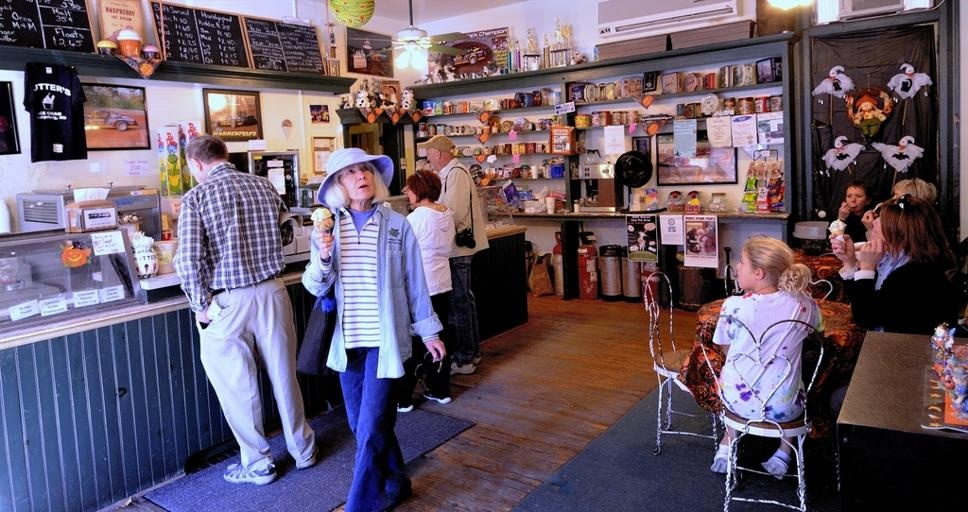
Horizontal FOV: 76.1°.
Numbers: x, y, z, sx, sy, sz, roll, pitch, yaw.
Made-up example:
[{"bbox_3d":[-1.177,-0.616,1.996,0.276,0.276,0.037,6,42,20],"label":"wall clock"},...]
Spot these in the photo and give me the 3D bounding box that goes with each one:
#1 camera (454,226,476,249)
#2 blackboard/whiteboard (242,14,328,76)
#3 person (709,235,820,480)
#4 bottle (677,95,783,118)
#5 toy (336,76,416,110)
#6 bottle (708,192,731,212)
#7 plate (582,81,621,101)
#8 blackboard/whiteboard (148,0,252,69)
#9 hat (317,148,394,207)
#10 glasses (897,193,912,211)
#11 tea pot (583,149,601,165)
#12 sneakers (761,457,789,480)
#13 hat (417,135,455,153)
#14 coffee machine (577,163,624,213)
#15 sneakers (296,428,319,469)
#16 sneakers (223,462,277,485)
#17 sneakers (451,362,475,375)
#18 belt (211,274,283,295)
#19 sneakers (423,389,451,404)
[{"bbox_3d":[-0.212,-0.197,6.558,0.257,0.216,0.131,-3,10,-28],"label":"camera"},{"bbox_3d":[-2.789,-2.885,8.460,1.239,0.782,0.077,-4,-8,-45],"label":"blackboard/whiteboard"},{"bbox_3d":[2.238,0.558,4.811,0.751,1.387,0.433,-8,13,-21],"label":"person"},{"bbox_3d":[3.271,-2.024,8.263,1.305,0.278,0.157,1,13,19],"label":"bottle"},{"bbox_3d":[-1.674,-2.456,9.313,1.294,0.446,1.393,12,15,31],"label":"toy"},{"bbox_3d":[3.234,-0.752,8.467,0.277,0.243,0.300,2,12,23],"label":"bottle"},{"bbox_3d":[1.709,-2.355,8.847,0.395,0.118,0.366,0,5,9],"label":"plate"},{"bbox_3d":[-3.644,-2.780,7.767,0.050,0.865,1.326,-19,-11,42],"label":"blackboard/whiteboard"},{"bbox_3d":[-1.044,-0.663,4.753,0.556,0.269,0.492,-22,-20,-3],"label":"hat"},{"bbox_3d":[3.559,-0.460,5.210,0.121,0.108,0.106,0,-9,40],"label":"glasses"},{"bbox_3d":[1.642,-1.498,9.238,0.282,0.210,0.178,3,7,24],"label":"tea pot"},{"bbox_3d":[2.431,1.763,5.177,0.159,0.101,0.207,41,8,6],"label":"sneakers"},{"bbox_3d":[-0.539,-1.228,6.801,0.401,0.136,0.238,3,8,12],"label":"hat"},{"bbox_3d":[1.734,-1.011,9.009,0.466,0.726,0.838,0,0,-35],"label":"coffee machine"},{"bbox_3d":[-1.537,1.723,5.519,0.145,0.163,0.383,2,13,6],"label":"sneakers"},{"bbox_3d":[-2.017,1.871,5.390,0.446,0.172,0.190,5,3,9],"label":"sneakers"},{"bbox_3d":[-0.244,1.243,6.871,0.291,0.112,0.101,2,4,6],"label":"sneakers"},{"bbox_3d":[-1.991,0.226,5.155,0.576,0.143,0.114,-9,13,-28],"label":"belt"},{"bbox_3d":[-0.471,1.417,6.326,0.288,0.107,0.113,4,4,28],"label":"sneakers"}]
